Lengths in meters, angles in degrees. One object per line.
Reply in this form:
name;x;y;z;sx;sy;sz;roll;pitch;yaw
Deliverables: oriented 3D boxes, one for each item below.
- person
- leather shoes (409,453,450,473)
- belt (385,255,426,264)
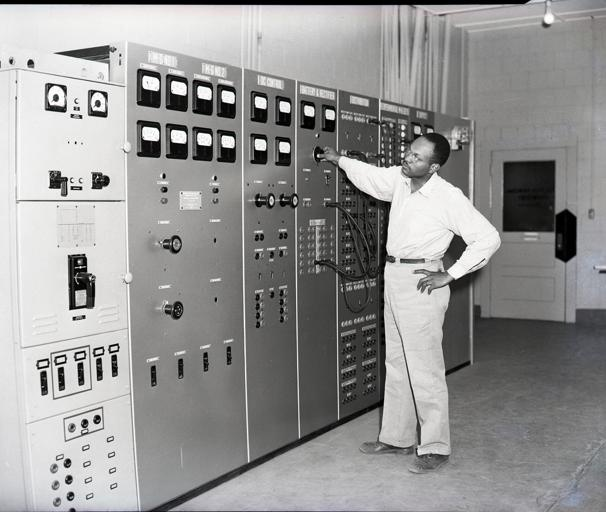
person;0.710;0.293;3.167;0.430;2.063;0.933;-3;5;-39
leather shoes;0.763;1.277;3.076;0.250;0.124;0.097;1;4;-17
belt;0.621;0.025;3.064;0.236;0.046;0.085;2;5;21
